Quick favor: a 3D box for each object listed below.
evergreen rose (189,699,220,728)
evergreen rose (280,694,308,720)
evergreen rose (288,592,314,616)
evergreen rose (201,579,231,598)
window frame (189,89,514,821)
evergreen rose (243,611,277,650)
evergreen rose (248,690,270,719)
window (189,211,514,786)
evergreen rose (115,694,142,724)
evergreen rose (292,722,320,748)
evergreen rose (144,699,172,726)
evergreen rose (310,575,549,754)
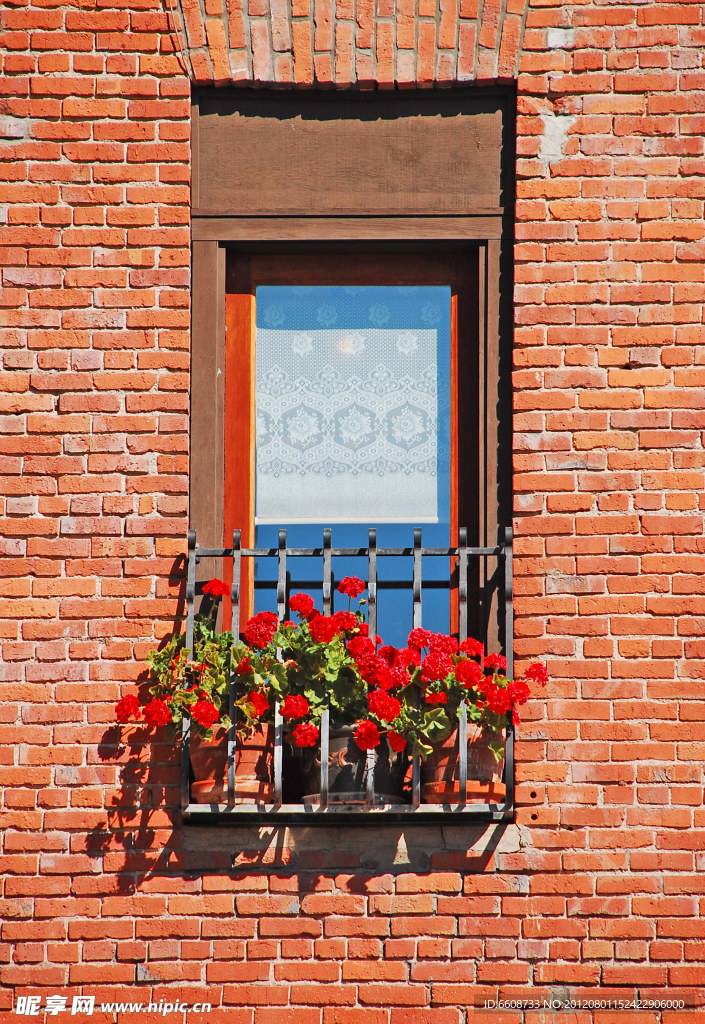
[{"bbox_3d":[-0.471,0.639,6.280,0.071,0.085,0.070,-3,-36,8],"label":"evergreen rose"},{"bbox_3d":[-0.185,0.623,6.307,0.088,0.081,0.189,2,-5,-1],"label":"evergreen rose"},{"bbox_3d":[-0.172,0.301,6.430,0.060,0.078,0.059,-3,17,15],"label":"evergreen rose"},{"bbox_3d":[-0.448,0.262,6.499,0.063,0.061,0.071,1,-3,-2],"label":"evergreen rose"},{"bbox_3d":[-0.024,-0.170,7.089,1.095,2.863,0.228,-2,31,-4],"label":"window frame"},{"bbox_3d":[-0.294,0.378,6.348,0.069,0.063,0.119,7,29,-1],"label":"evergreen rose"},{"bbox_3d":[-0.304,0.619,6.363,0.071,0.086,0.125,2,-5,-3],"label":"evergreen rose"},{"bbox_3d":[-0.014,-0.297,6.844,1.077,1.727,0.083,0,-38,-2],"label":"window"},{"bbox_3d":[-0.710,0.646,6.400,0.081,0.104,0.089,-1,6,6],"label":"evergreen rose"},{"bbox_3d":[-0.148,0.694,6.240,0.065,0.085,0.044,-2,0,-7],"label":"evergreen rose"},{"bbox_3d":[-0.617,0.634,6.309,0.085,0.082,0.112,2,-5,-5],"label":"evergreen rose"},{"bbox_3d":[0.229,0.496,6.359,0.744,0.564,0.385,2,-4,-3],"label":"evergreen rose"}]
